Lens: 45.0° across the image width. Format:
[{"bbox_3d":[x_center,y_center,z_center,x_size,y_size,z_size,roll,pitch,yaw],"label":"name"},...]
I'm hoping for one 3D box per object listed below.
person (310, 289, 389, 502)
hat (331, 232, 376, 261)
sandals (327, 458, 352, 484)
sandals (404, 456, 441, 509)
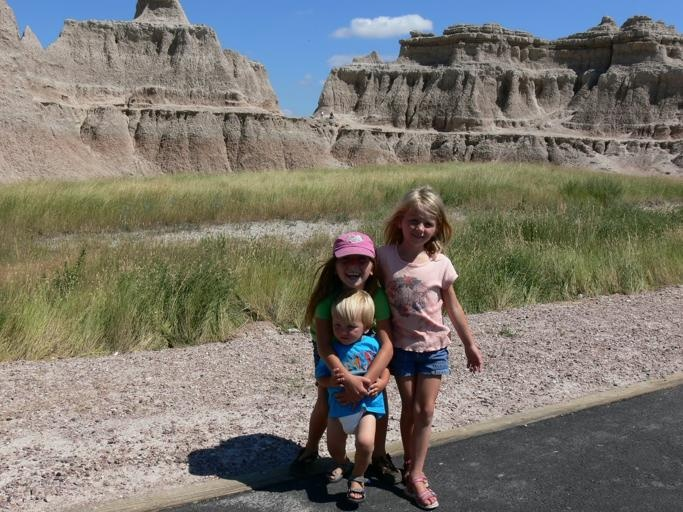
[{"bbox_3d":[0.129,1.509,8.861,0.761,2.264,0.405,-2,6,-2],"label":"person"},{"bbox_3d":[0.146,-0.098,9.295,0.502,0.290,0.753,2,0,-1],"label":"hat"},{"bbox_3d":[-0.021,2.359,9.019,0.153,0.136,0.365,-5,-4,29],"label":"sandals"},{"bbox_3d":[0.828,2.512,8.976,0.216,0.276,0.605,-5,7,-24],"label":"sandals"}]
